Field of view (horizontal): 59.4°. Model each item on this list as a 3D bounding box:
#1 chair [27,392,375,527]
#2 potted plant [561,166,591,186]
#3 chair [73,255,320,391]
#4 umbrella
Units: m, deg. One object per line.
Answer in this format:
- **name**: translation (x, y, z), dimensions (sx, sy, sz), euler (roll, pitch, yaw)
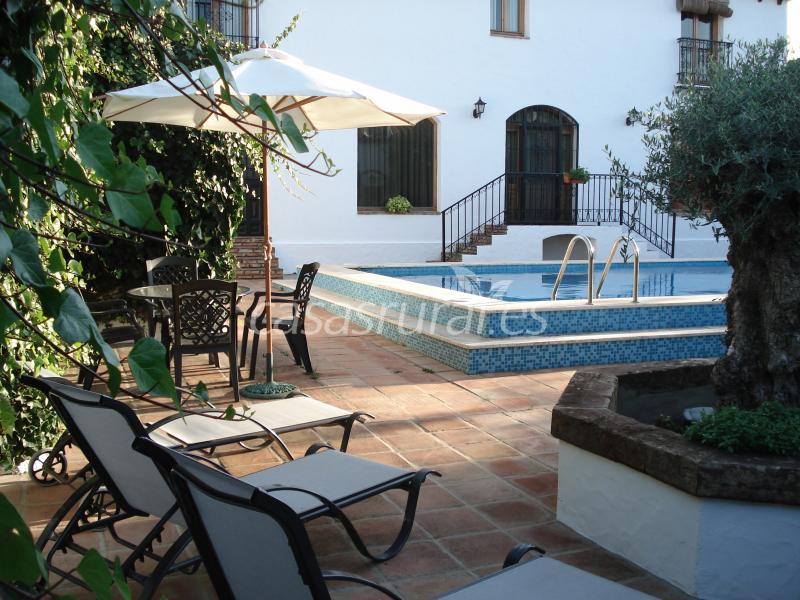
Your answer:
- **chair**: translation (-0.719, 0.626, 3.045), dimensions (0.528, 0.619, 1.527), euler (-15, -12, 21)
- **potted plant**: translation (4.109, -2.880, 16.401), dimensions (0.445, 0.458, 0.639), euler (-1, 9, -5)
- **chair**: translation (-1.306, 0.212, 5.645), dimensions (1.117, 0.606, 1.149), euler (-1, 4, 3)
- **umbrella**: translation (-0.736, -0.932, 5.626), dimensions (1.676, 1.609, 1.742), euler (3, 19, -1)
